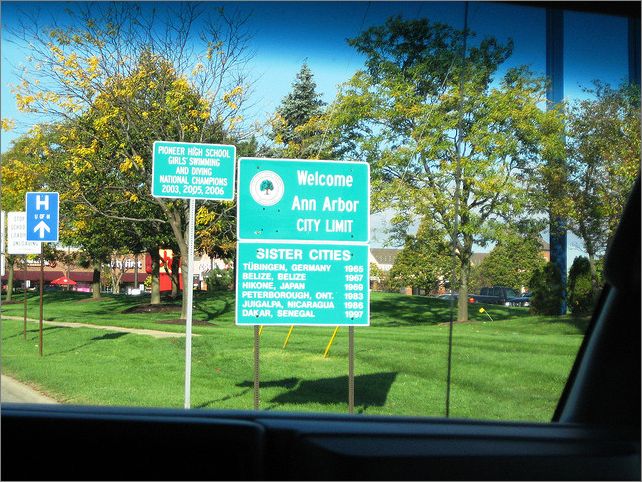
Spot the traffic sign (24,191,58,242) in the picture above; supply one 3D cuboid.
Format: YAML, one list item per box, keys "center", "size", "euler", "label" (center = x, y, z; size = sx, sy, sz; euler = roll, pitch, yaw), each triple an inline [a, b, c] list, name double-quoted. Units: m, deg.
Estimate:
- center: [-4.801, -0.440, 10.560]
  size: [0.582, 0.851, 0.357]
  euler: [-1, -3, -9]
  label: "traffic sign"

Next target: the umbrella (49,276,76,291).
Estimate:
- center: [-22.615, 3.630, 53.702]
  size: [1.501, 0.697, 1.428]
  euler: [-2, -8, 21]
  label: "umbrella"
